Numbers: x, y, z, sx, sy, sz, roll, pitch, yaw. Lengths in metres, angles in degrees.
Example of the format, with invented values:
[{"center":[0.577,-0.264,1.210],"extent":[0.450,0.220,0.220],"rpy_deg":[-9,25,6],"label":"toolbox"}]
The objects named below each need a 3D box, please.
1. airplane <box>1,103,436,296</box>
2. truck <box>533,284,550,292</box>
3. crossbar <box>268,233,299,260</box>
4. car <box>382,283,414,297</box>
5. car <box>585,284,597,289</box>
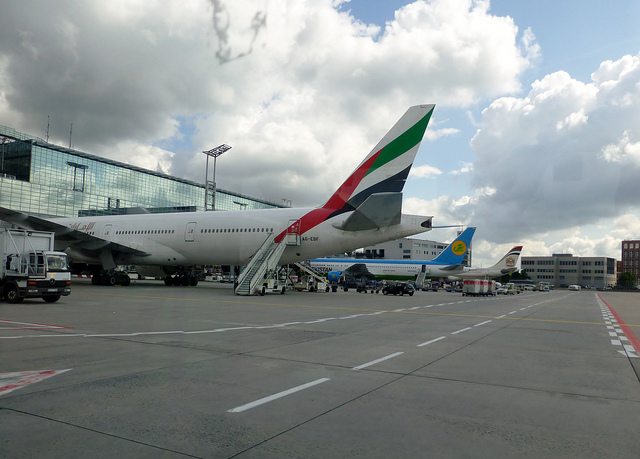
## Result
[{"center":[-5.773,-0.044,33.261],"extent":[20.117,5.239,17.962],"rpy_deg":[2,2,27],"label":"airplane"},{"center":[46.713,12.397,98.411],"extent":[2.978,1.617,5.421],"rpy_deg":[2,1,23],"label":"truck"},{"center":[-2.727,1.116,30.859],"extent":[1.020,1.674,0.494],"rpy_deg":[6,-8,-29],"label":"crossbar"},{"center":[6.624,4.982,38.789],"extent":[2.063,0.655,1.124],"rpy_deg":[2,-1,38],"label":"car"},{"center":[89.185,18.726,153.362],"extent":[4.530,1.276,1.914],"rpy_deg":[-2,-1,4],"label":"car"}]
